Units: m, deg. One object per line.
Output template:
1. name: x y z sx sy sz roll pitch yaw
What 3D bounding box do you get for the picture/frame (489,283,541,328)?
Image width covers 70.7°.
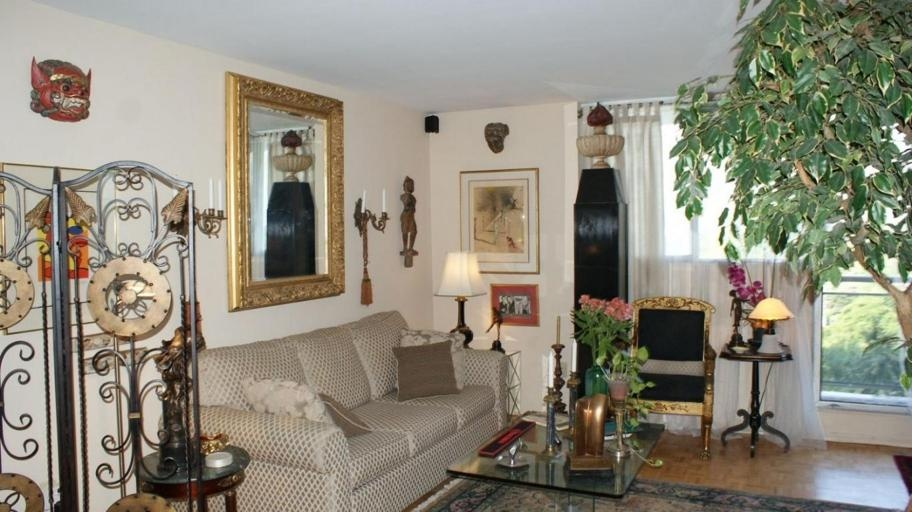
1. picture/frame: 0.719 0.585 7.627 0.577 0.447 0.026 -1 1 23

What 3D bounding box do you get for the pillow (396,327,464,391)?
1. pillow: -0.219 1.066 6.589 0.875 0.274 0.907 -4 -35 -1

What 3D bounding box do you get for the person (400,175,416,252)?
1. person: -0.546 -0.485 7.609 0.139 0.923 0.355 -2 2 25

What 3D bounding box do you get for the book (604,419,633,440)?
1. book: 1.324 1.432 5.291 0.273 0.059 0.259 0 -4 1

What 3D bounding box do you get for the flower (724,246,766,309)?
1. flower: 3.059 0.296 6.803 0.383 0.524 0.483 -2 2 24

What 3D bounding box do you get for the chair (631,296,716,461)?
1. chair: 2.248 1.194 6.727 1.045 1.359 1.046 8 16 34

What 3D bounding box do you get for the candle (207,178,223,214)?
1. candle: -2.139 -0.553 5.704 0.049 0.302 0.166 -1 2 32

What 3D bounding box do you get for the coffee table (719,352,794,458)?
1. coffee table: 3.147 1.467 6.747 0.642 1.077 0.696 -1 3 39

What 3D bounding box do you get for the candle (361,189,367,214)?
1. candle: -1.005 -0.607 7.008 0.050 0.228 0.110 -3 2 2

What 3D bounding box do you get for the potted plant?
1. potted plant: 1.291 1.219 5.273 0.493 0.861 0.540 -3 -2 -42

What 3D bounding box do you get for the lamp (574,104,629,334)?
1. lamp: 1.565 -0.446 7.094 0.690 2.328 0.645 -13 25 -16

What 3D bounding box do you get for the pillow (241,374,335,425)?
1. pillow: -1.384 1.143 5.162 0.780 0.312 0.196 -2 2 29
